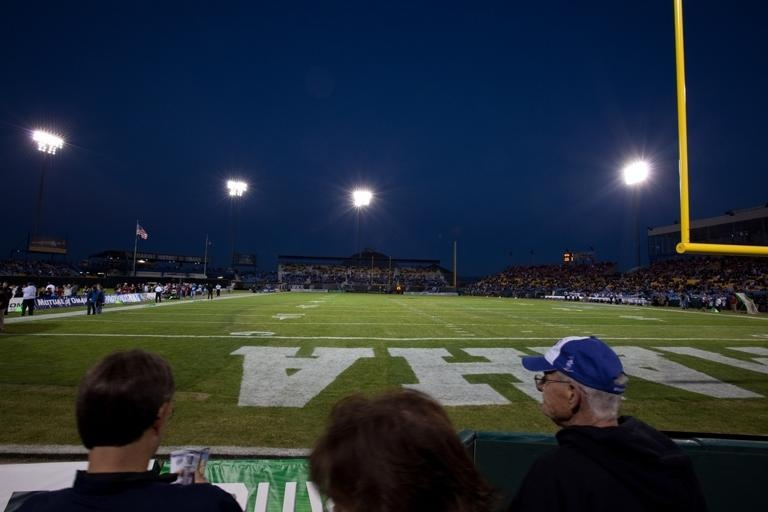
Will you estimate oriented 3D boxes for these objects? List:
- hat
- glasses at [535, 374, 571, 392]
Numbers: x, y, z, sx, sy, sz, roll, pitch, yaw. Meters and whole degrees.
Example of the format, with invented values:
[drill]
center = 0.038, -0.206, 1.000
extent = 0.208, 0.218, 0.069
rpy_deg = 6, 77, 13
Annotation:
[hat]
center = 1.591, 0.854, 4.211
extent = 0.716, 0.371, 0.495
rpy_deg = 3, -7, 30
[glasses]
center = 1.372, 1.021, 4.148
extent = 0.239, 0.062, 0.222
rpy_deg = 3, -6, 28
